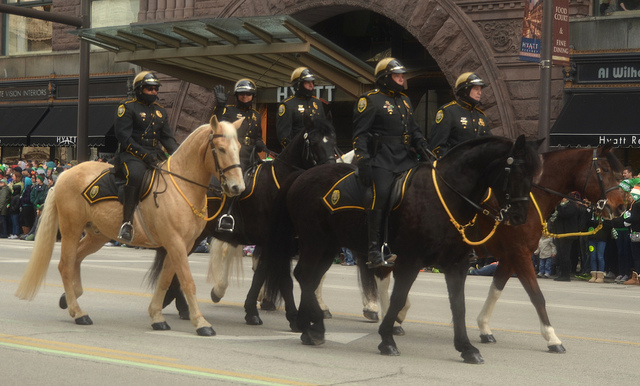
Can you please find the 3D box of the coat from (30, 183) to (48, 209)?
[{"bbox_3d":[-9.782,0.077,33.091,0.777,0.741,0.358,4,2,0],"label":"coat"}]

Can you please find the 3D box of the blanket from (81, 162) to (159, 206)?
[{"bbox_3d":[-4.147,-0.166,19.667,1.450,0.463,0.823,-4,-4,14],"label":"blanket"}]

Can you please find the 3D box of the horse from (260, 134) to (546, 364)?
[{"bbox_3d":[0.656,0.787,21.592,9.621,5.220,2.507,-1,-4,17],"label":"horse"}]

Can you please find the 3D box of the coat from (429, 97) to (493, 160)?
[{"bbox_3d":[3.015,-1.394,20.216,1.800,1.260,0.793,-1,6,-42],"label":"coat"}]

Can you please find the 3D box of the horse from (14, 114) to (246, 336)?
[{"bbox_3d":[-3.963,0.789,20.273,7.255,4.149,1.929,-3,-7,40],"label":"horse"}]

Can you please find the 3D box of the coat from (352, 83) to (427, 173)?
[{"bbox_3d":[1.273,-1.322,19.057,1.337,1.715,2.022,10,10,33],"label":"coat"}]
